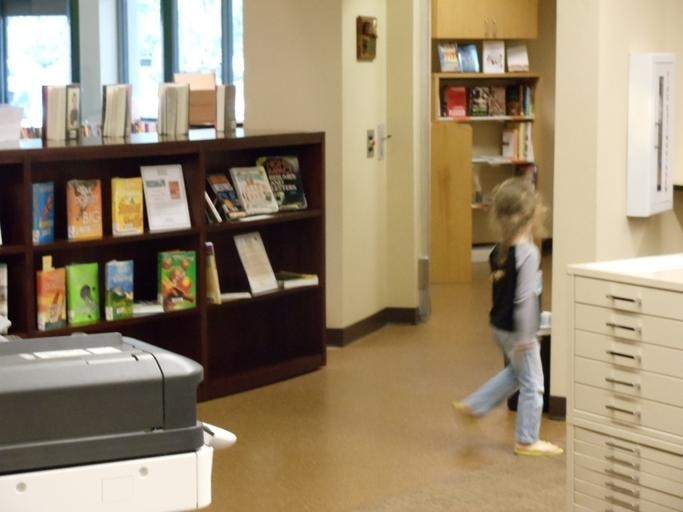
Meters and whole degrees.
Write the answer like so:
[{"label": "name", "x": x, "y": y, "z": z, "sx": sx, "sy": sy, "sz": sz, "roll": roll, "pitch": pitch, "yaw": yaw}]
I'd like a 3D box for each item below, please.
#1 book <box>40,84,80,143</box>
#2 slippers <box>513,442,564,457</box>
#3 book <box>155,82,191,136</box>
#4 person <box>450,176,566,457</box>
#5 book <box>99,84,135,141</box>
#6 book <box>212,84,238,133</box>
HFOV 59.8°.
[{"label": "book", "x": -1.827, "y": -0.926, "z": 3.838, "sx": 0.232, "sy": 0.360, "sz": 0.194, "roll": -5, "pitch": 10, "yaw": -25}, {"label": "slippers", "x": 1.161, "y": 1.145, "z": 3.516, "sx": 0.266, "sy": 0.118, "sz": 0.110, "roll": -4, "pitch": 5, "yaw": 3}, {"label": "book", "x": -1.235, "y": -1.058, "z": 4.297, "sx": 0.224, "sy": 0.370, "sz": 0.212, "roll": -3, "pitch": 10, "yaw": -15}, {"label": "person", "x": 1.044, "y": 0.356, "z": 3.557, "sx": 0.416, "sy": 1.621, "sz": 0.522, "roll": -4, "pitch": 10, "yaw": -20}, {"label": "book", "x": -1.563, "y": -0.995, "z": 4.087, "sx": 0.202, "sy": 0.356, "sz": 0.196, "roll": -4, "pitch": 10, "yaw": -23}, {"label": "book", "x": -0.920, "y": -1.145, "z": 4.633, "sx": 0.152, "sy": 0.366, "sz": 0.245, "roll": -2, "pitch": 10, "yaw": -12}]
